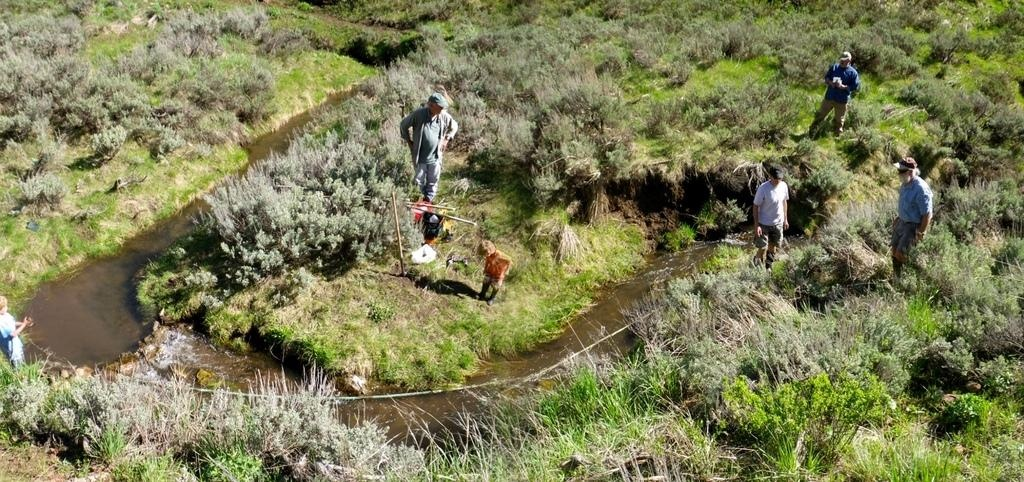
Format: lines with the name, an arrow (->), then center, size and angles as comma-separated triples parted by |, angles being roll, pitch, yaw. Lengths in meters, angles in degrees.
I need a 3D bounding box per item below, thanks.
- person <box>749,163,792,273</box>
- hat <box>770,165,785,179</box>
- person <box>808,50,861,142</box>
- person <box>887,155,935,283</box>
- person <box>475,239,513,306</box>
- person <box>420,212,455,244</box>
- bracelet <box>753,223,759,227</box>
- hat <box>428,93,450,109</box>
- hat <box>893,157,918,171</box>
person -> 8.145, -0.813, 31.505 | 1.209, 3.269, 0.887 | -13, 12, -37
hat -> 8.261, -2.138, 31.096 | 0.362, 0.419, 0.412 | -6, -5, 2
person -> 10.973, -5.059, 34.059 | 1.523, 2.757, 1.045 | -2, 10, 18
person -> 12.168, -0.829, 30.523 | 1.179, 3.454, 0.641 | -2, 10, 22
person -> -0.567, 0.938, 31.592 | 1.114, 1.998, 0.540 | -1, 11, 26
person -> -2.461, -0.438, 32.437 | 0.786, 1.138, 0.390 | 5, 16, 1
bracelet -> 7.699, -0.552, 31.492 | 0.182, 0.112, 0.213 | 2, 12, 37
hat -> -2.283, -4.484, 31.406 | 0.601, 0.510, 0.379 | -10, 10, -21
hat -> 11.979, -2.301, 30.410 | 0.658, 0.403, 0.491 | 12, 43, 6
